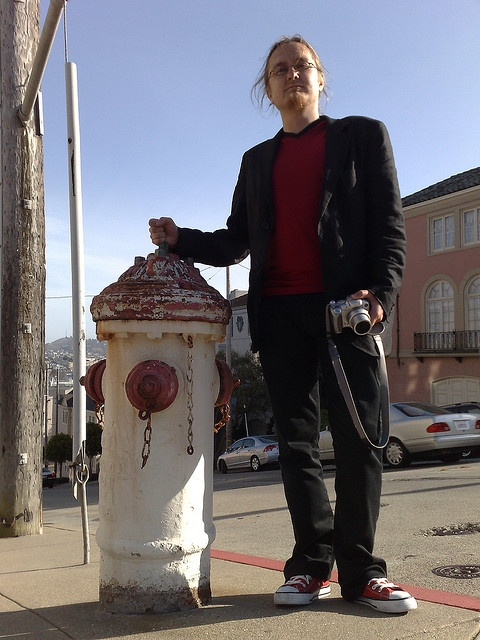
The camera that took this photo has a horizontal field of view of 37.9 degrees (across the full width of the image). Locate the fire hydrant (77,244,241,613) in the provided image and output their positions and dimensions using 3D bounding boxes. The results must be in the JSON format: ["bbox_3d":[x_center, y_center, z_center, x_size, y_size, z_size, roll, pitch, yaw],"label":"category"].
[{"bbox_3d":[-0.279,0.387,2.565,0.527,1.300,0.358,0,-3,-15],"label":"fire hydrant"}]

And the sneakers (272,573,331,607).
[{"bbox_3d":[0.221,0.984,2.552,0.079,0.105,0.231,-11,-19,33],"label":"sneakers"}]

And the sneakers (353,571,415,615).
[{"bbox_3d":[0.503,0.950,2.401,0.073,0.082,0.196,2,-15,-24],"label":"sneakers"}]
